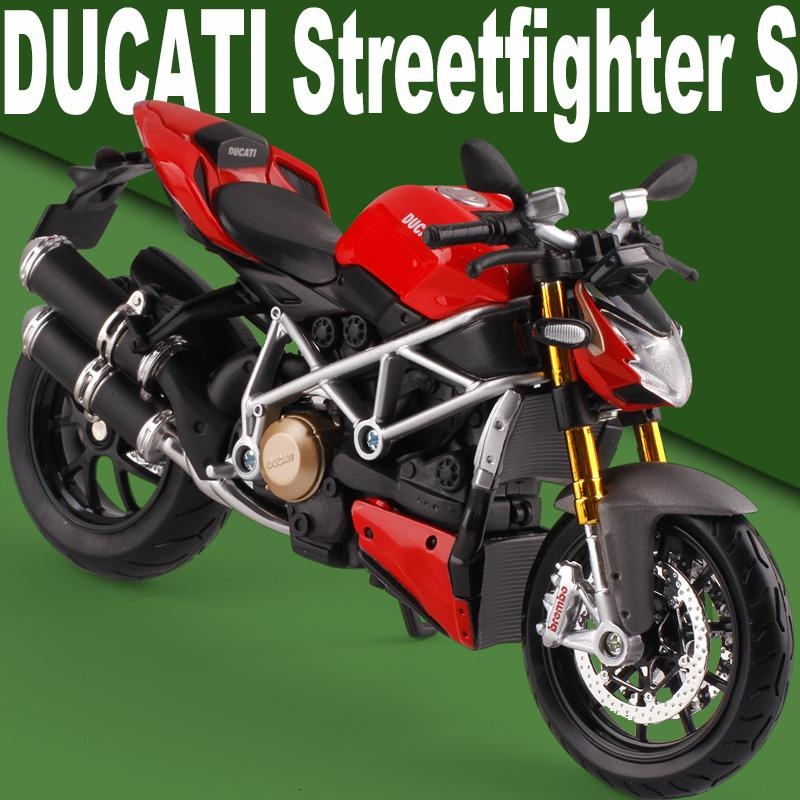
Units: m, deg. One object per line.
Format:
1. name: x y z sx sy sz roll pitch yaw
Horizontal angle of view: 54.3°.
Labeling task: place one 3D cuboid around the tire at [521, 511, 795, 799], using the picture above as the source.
1. tire: 0.442 0.450 1.420 0.182 0.527 0.474 -4 9 -40

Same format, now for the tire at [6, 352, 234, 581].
1. tire: -0.843 0.174 2.339 0.813 0.774 0.226 4 8 28
